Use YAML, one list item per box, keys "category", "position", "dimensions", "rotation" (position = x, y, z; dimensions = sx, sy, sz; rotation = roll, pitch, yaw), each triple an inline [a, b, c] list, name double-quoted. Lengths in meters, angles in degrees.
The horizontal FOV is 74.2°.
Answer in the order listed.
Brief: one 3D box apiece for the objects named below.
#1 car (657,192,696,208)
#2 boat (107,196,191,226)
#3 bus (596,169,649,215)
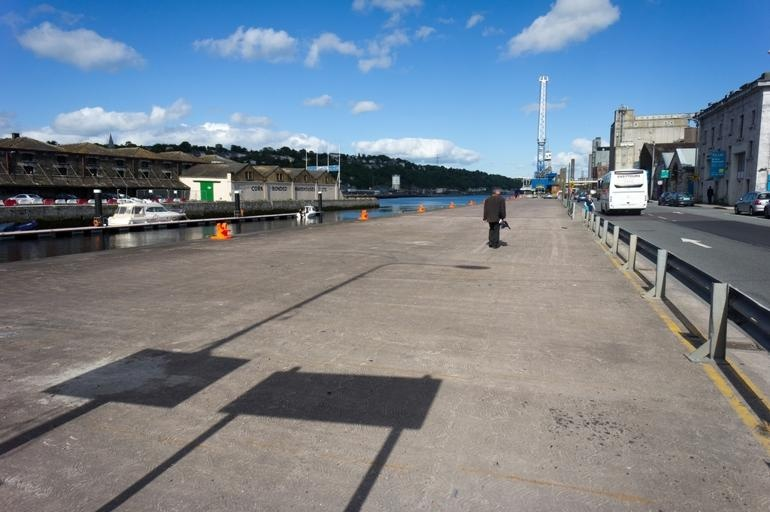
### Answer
- category: "car"
  position: [34.575, -6.780, 60.401]
  dimensions: [2.369, 1.542, 6.705]
  rotation: [3, 9, 18]
- category: "boat"
  position: [-18.419, -3.201, 39.021]
  dimensions: [2.607, 2.094, 5.749]
  rotation: [6, 12, 20]
- category: "bus"
  position: [19.458, -5.234, 41.653]
  dimensions: [2.536, 2.724, 6.921]
  rotation: [1, 5, 19]
